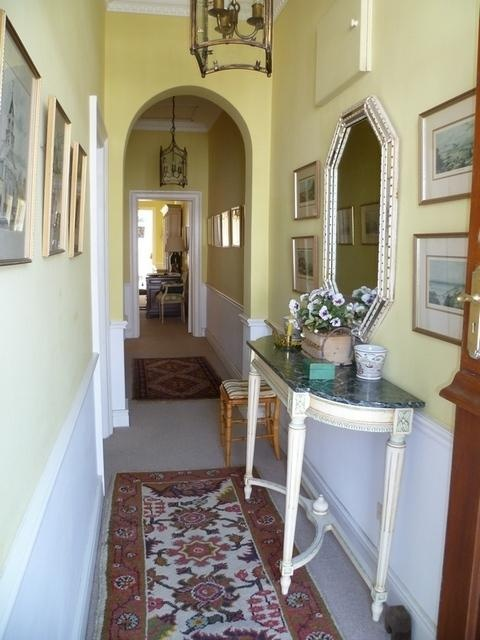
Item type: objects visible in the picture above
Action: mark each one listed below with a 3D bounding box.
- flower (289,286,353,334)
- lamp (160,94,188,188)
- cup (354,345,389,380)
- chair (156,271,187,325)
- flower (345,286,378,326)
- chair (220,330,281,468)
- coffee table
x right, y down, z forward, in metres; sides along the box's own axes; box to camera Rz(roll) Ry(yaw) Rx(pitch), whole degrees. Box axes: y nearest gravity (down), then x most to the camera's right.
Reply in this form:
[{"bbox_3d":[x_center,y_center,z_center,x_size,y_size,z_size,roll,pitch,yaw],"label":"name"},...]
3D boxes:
[{"bbox_3d":[0.425,-0.040,2.274,0.218,0.168,0.242,5,-1,12],"label":"flower"},{"bbox_3d":[-1.116,-2.801,7.399,0.487,1.173,0.959,0,4,-8],"label":"lamp"},{"bbox_3d":[0.570,0.170,1.945,0.117,0.133,0.145,1,4,7],"label":"cup"},{"bbox_3d":[-1.549,-0.524,10.436,0.821,1.747,0.921,0,6,-10],"label":"chair"},{"bbox_3d":[0.604,-0.079,2.230,0.098,0.176,0.150,7,12,-30],"label":"flower"},{"bbox_3d":[0.090,0.754,3.808,0.508,0.984,0.572,1,5,-11],"label":"chair"},{"bbox_3d":[0.457,0.771,2.096,0.314,0.933,0.946,0,12,-8],"label":"coffee table"}]
